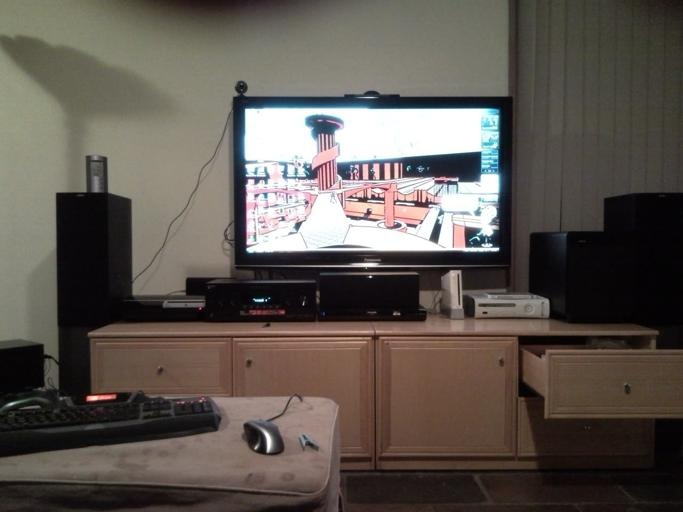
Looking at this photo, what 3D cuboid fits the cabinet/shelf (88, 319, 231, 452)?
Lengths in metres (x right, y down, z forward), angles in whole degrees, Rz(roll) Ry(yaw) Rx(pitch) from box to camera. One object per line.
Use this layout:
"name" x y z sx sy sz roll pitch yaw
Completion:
"cabinet/shelf" -0.999 0.719 3.749 0.686 0.428 0.391 0 -12 -2

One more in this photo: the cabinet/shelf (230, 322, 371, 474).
"cabinet/shelf" -0.190 0.710 3.362 0.793 0.709 0.300 1 -5 1

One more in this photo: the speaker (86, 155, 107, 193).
"speaker" -1.502 -0.513 4.160 0.116 0.227 0.124 -2 4 -22

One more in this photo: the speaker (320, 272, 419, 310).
"speaker" 0.167 0.198 4.077 0.612 0.217 0.193 -1 6 8

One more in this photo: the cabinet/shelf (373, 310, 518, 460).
"cabinet/shelf" 0.544 0.735 4.085 1.078 0.857 0.640 1 -1 -3

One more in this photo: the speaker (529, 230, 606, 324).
"speaker" 1.443 0.090 4.188 0.359 0.546 0.606 -3 7 -6
